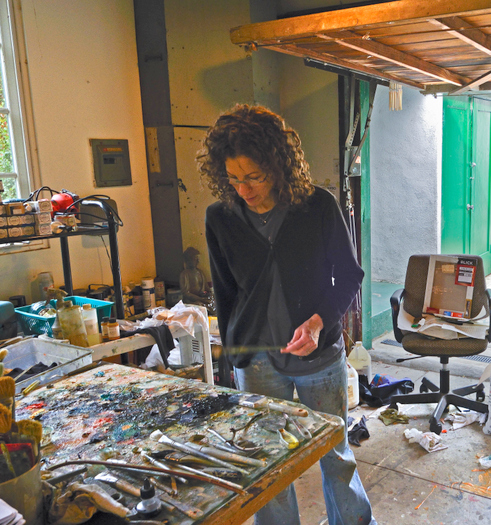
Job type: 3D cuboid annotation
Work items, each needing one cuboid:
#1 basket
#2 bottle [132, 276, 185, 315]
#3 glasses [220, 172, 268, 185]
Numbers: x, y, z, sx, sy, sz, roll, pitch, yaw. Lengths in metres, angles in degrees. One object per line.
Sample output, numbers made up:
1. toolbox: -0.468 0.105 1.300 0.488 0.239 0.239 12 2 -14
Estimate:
1. basket: -0.908 0.256 2.443 0.292 0.102 0.344 1 4 40
2. bottle: -0.748 0.258 3.992 0.356 0.330 0.338 12 15 37
3. glasses: 0.001 -0.262 1.497 0.118 0.033 0.052 0 6 18
